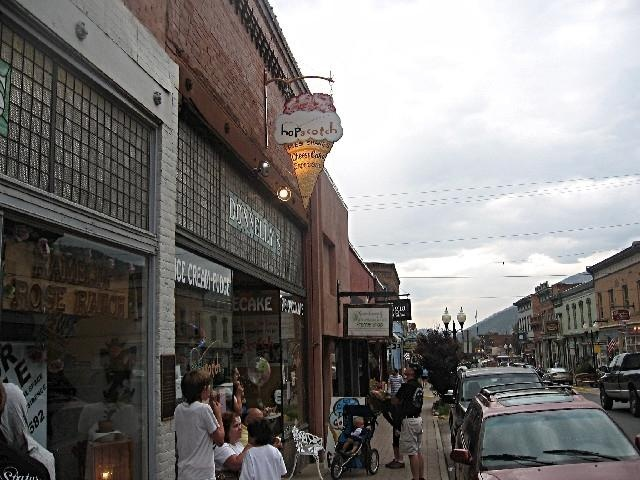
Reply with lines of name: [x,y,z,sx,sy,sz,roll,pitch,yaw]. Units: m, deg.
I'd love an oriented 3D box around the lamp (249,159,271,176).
lamp: [-1.142,-1.410,10.954,0.308,0.279,0.458,0,-5,4]

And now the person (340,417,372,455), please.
person: [0.739,4.145,12.014,0.439,0.635,0.988,2,5,24]

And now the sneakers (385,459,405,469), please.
sneakers: [1.736,5.122,12.886,0.268,0.125,0.203,7,-13,-13]
